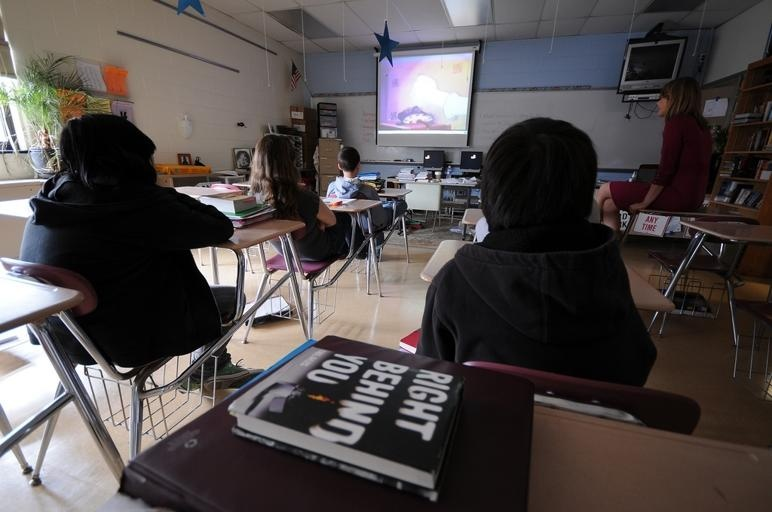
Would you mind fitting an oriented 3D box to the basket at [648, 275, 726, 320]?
[{"bbox_3d":[2.440,0.347,3.777,0.303,0.155,0.389,7,16,35],"label":"basket"}]

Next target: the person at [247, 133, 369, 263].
[{"bbox_3d":[-0.749,-0.409,3.719,0.784,0.926,0.937,-8,9,-11],"label":"person"}]

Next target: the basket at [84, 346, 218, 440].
[{"bbox_3d":[-1.364,0.874,2.942,0.674,0.434,0.668,12,18,29],"label":"basket"}]

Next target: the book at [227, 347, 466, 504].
[{"bbox_3d":[-0.101,0.559,1.661,0.569,0.110,0.540,10,14,14],"label":"book"}]

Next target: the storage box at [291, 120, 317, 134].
[{"bbox_3d":[-1.513,-2.335,8.513,0.220,0.344,0.404,4,7,25],"label":"storage box"}]

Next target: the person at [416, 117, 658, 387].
[{"bbox_3d":[0.651,-0.005,2.022,1.010,1.121,0.452,-2,19,-7],"label":"person"}]

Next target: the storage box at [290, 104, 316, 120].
[{"bbox_3d":[-1.503,-2.570,8.459,0.322,0.272,0.590,5,12,23],"label":"storage box"}]

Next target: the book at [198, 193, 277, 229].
[{"bbox_3d":[-0.945,-0.299,2.866,0.303,0.085,0.234,11,21,30],"label":"book"}]
